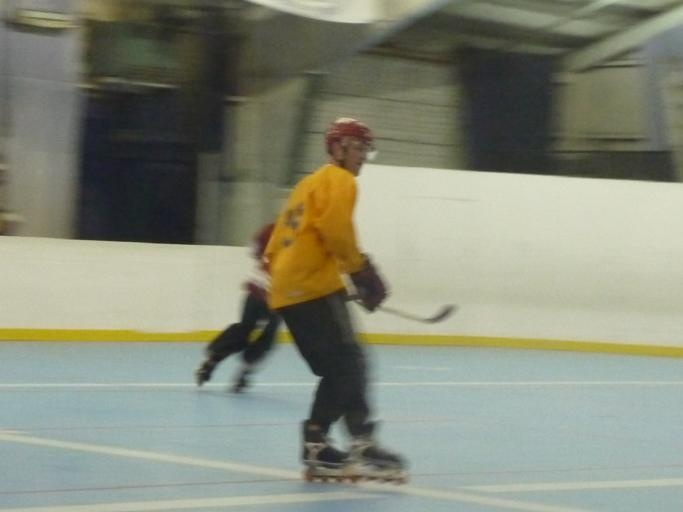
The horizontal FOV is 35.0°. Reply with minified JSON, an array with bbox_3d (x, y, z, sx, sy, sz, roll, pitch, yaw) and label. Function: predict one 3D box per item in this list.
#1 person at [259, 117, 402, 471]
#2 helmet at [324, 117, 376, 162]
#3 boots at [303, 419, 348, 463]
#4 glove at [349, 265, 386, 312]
[{"bbox_3d":[-0.024,0.395,6.605,0.831,1.887,0.436,2,9,0],"label":"person"},{"bbox_3d":[0.051,-0.738,6.737,0.372,0.246,0.256,0,3,7],"label":"helmet"},{"bbox_3d":[-0.129,1.137,6.672,0.320,0.240,0.206,4,-1,7],"label":"boots"},{"bbox_3d":[0.172,0.186,6.672,0.178,0.275,0.070,-38,20,-10],"label":"glove"}]
